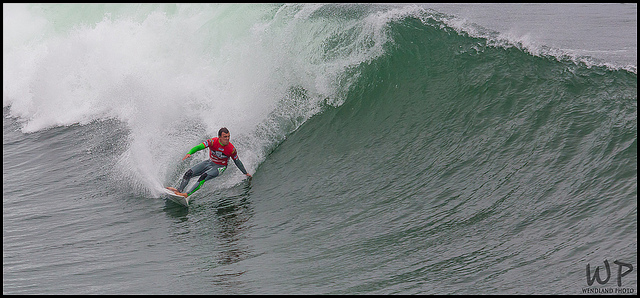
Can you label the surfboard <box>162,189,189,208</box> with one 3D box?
[{"bbox_3d":[-5.785,2.017,23.345,1.682,0.306,0.339,11,28,39],"label":"surfboard"}]
